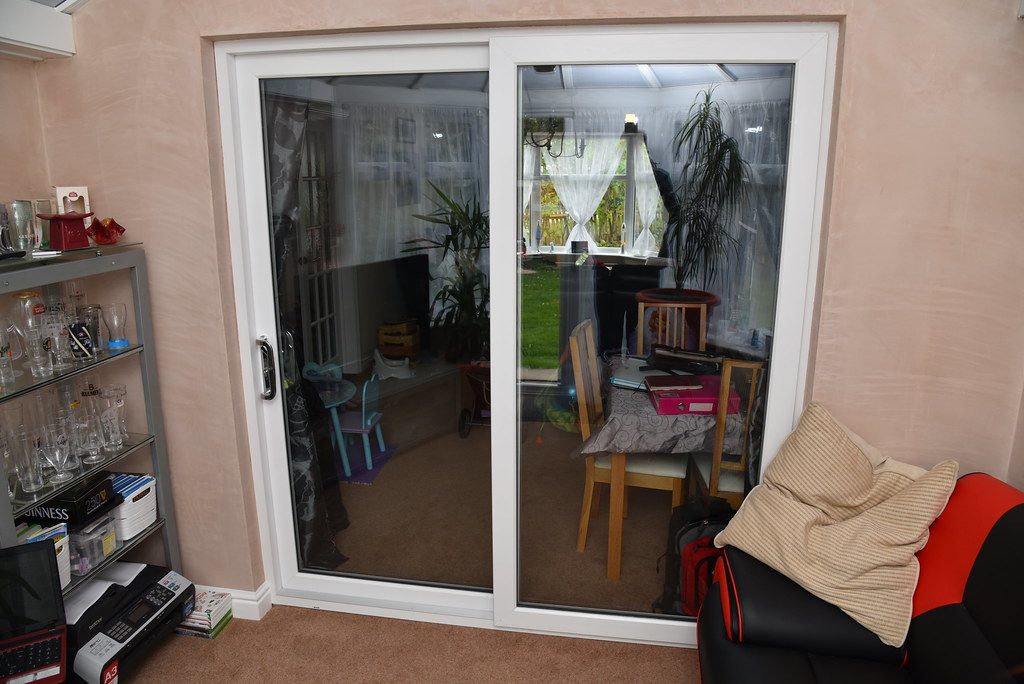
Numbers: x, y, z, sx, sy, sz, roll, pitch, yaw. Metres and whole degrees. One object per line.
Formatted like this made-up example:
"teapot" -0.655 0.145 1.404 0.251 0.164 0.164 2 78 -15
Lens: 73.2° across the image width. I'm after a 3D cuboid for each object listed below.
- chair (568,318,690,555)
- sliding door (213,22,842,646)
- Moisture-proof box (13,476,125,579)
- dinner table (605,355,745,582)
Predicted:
"chair" 0.581 0.462 3.219 0.626 1.007 0.668 0 2 0
"sliding door" 0.127 -0.126 2.951 2.561 2.851 0.122 1 13 8
"Moisture-proof box" -1.929 0.832 3.025 0.322 0.355 0.492 -15 6 -11
"dinner table" 0.597 0.539 3.196 0.738 1.030 0.759 2 -20 15
